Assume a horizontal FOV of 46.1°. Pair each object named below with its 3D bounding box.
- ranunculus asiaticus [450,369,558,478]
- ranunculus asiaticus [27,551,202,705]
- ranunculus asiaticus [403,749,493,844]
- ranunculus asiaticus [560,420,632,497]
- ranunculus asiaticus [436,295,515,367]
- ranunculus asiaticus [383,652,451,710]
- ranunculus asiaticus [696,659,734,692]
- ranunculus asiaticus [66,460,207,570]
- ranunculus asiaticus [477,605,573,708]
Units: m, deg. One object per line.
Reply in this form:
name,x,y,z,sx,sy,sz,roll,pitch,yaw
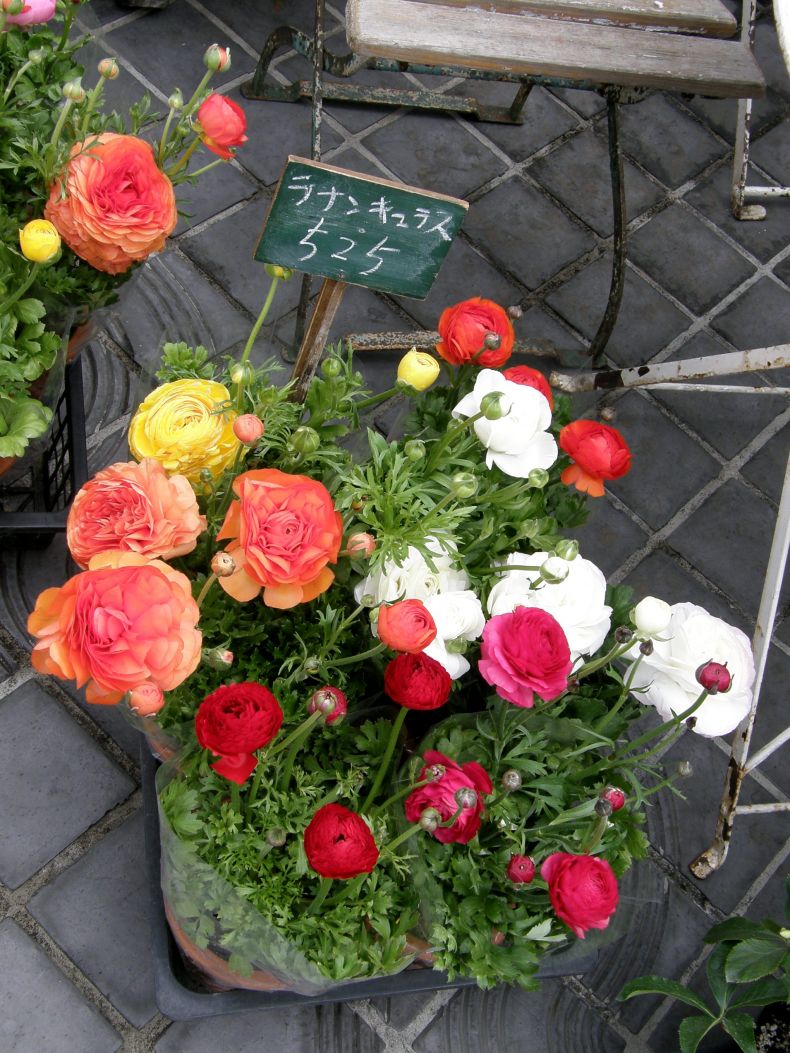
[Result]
ranunculus asiaticus,0.108,-0.097,0.952,0.106,0.100,0.074,31,41,19
ranunculus asiaticus,-0.198,0.081,0.734,0.140,0.118,0.076,-12,1,-8
ranunculus asiaticus,0.038,0.243,0.813,0.095,0.086,0.042,4,11,7
ranunculus asiaticus,0.220,-0.079,1.040,0.091,0.079,0.075,5,13,12
ranunculus asiaticus,0.080,-0.201,0.999,0.088,0.076,0.053,22,1,1
ranunculus asiaticus,0.022,0.135,0.796,0.058,0.048,0.033,-1,-14,-1
ranunculus asiaticus,0.272,0.131,0.796,0.030,0.032,0.029,4,54,1
ranunculus asiaticus,-0.201,-0.013,0.757,0.103,0.058,0.087,-2,73,-2
ranunculus asiaticus,0.107,0.107,0.764,0.093,0.079,0.071,-10,-7,9
